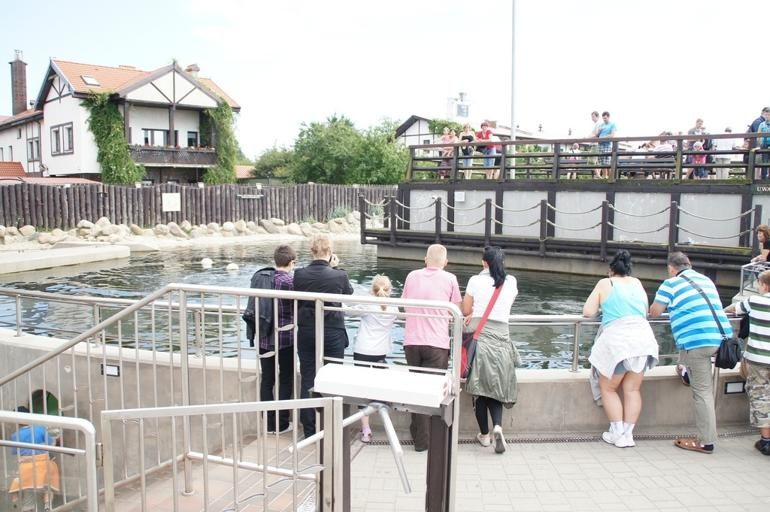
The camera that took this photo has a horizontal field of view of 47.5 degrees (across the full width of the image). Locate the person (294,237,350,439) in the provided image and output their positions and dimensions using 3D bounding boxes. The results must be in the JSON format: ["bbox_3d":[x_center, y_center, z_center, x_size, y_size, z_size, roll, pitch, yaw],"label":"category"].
[{"bbox_3d":[-0.901,1.228,12.779,0.824,2.938,1.076,-2,6,-4],"label":"person"}]

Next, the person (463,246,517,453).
[{"bbox_3d":[1.582,1.400,13.033,0.806,2.997,0.711,0,6,8],"label":"person"}]

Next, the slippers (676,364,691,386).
[{"bbox_3d":[4.583,1.824,13.353,0.101,0.344,0.144,-6,0,-38],"label":"slippers"}]

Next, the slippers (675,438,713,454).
[{"bbox_3d":[4.616,2.821,13.006,0.396,0.131,0.214,5,-2,18],"label":"slippers"}]

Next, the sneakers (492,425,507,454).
[{"bbox_3d":[1.692,2.736,12.892,0.161,0.429,0.193,-8,-2,4],"label":"sneakers"}]

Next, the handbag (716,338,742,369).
[{"bbox_3d":[5.130,1.451,12.984,0.386,0.458,0.245,0,6,13],"label":"handbag"}]

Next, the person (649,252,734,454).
[{"bbox_3d":[4.613,1.440,13.119,0.897,2.919,0.674,5,9,43],"label":"person"}]

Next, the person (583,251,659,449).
[{"bbox_3d":[3.573,1.430,13.138,0.918,2.833,0.568,-3,6,-14],"label":"person"}]

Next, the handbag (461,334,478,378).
[{"bbox_3d":[1.265,1.505,12.971,0.228,0.669,0.264,-1,6,5],"label":"handbag"}]

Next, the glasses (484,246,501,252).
[{"bbox_3d":[1.784,-0.097,14.424,0.217,0.072,0.205,0,4,-19],"label":"glasses"}]

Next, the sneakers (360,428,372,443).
[{"bbox_3d":[-0.262,2.690,13.048,0.146,0.191,0.355,-1,6,-1],"label":"sneakers"}]
